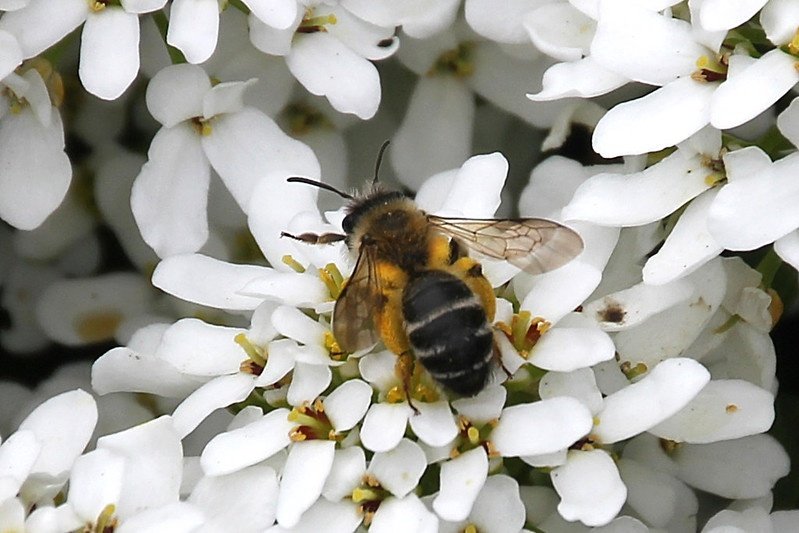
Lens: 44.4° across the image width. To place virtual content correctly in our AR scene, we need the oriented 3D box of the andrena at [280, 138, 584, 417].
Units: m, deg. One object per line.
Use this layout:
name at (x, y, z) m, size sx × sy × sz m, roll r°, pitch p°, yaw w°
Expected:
andrena at (0.054, 0.014, 1.448) m, size 0.363 × 0.171 × 0.443 m, roll -14°, pitch 42°, yaw -8°
